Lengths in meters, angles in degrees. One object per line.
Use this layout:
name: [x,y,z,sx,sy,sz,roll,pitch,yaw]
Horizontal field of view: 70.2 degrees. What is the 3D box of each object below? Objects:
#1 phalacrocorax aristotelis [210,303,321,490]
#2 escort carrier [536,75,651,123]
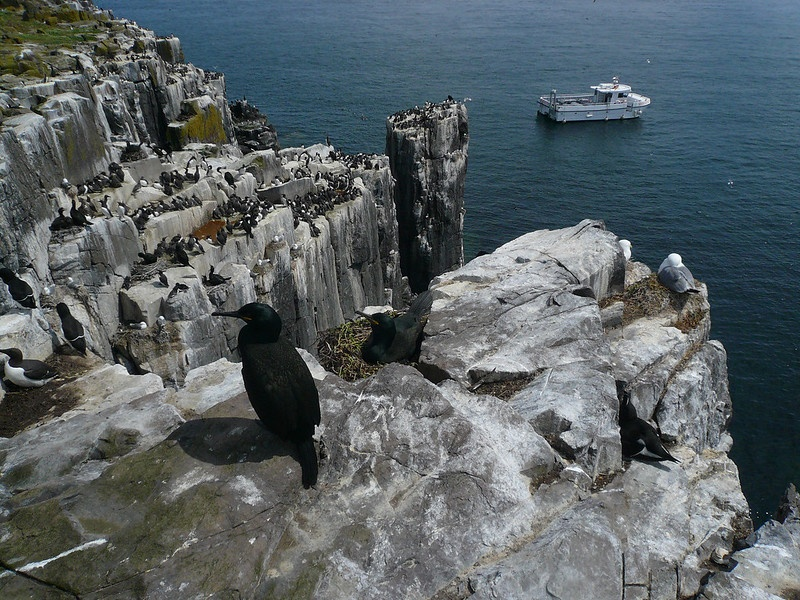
phalacrocorax aristotelis: [-1.853,1.401,8.897,0.981,2.138,2.095,-18,36,-21]
escort carrier: [19.597,-19.440,57.464,9.721,3.230,4.414,-2,33,0]
